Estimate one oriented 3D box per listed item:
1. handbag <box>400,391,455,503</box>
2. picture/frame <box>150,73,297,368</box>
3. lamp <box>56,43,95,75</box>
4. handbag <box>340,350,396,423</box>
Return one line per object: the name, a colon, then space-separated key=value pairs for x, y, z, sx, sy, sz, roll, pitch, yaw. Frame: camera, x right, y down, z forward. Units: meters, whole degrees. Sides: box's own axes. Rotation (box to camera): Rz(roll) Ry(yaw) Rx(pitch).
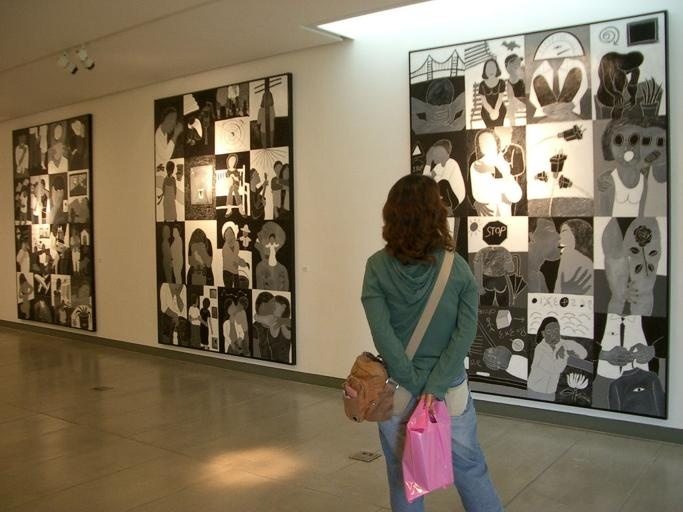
handbag: x=0.471 y=1.059 z=2.853 sx=0.266 sy=0.521 sz=0.144 roll=-1 pitch=4 yaw=1
picture/frame: x=-1.762 y=-0.520 z=7.723 sx=2.722 sy=3.925 sz=0.279 roll=2 pitch=5 yaw=33
lamp: x=-3.697 y=-2.691 z=7.194 sx=0.417 sy=0.224 sz=0.557 roll=-29 pitch=8 yaw=-25
handbag: x=0.176 y=0.757 z=2.977 sx=0.260 sy=0.395 sz=0.358 roll=-2 pitch=8 yaw=10
